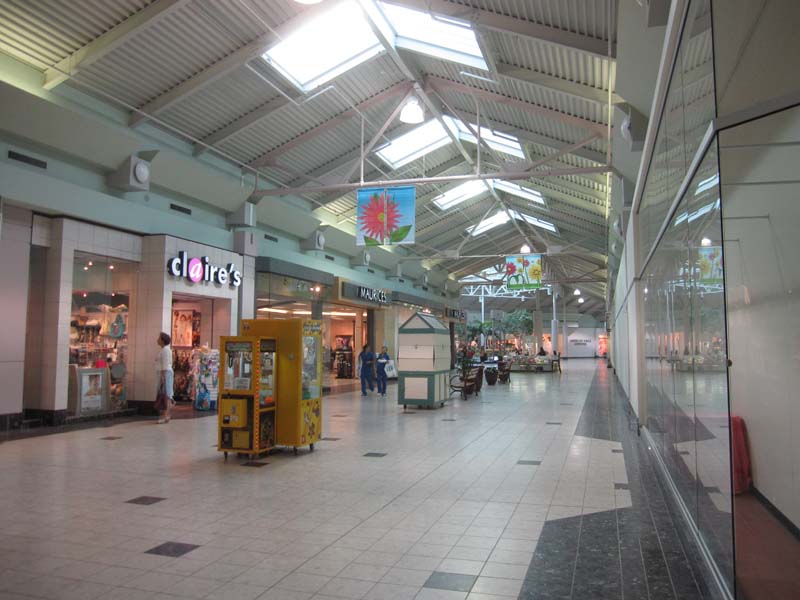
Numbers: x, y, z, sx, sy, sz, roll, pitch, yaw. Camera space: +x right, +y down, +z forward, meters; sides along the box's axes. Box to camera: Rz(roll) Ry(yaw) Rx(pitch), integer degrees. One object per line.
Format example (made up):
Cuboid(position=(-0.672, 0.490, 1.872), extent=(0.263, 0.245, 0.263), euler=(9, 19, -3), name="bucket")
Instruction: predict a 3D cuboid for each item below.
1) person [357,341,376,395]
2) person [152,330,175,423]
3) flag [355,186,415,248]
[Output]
Cuboid(position=(-1.129, 2.344, 18.607), extent=(0.485, 1.625, 1.724), euler=(0, -3, -3), name="person")
Cuboid(position=(-4.924, 1.657, 11.622), extent=(0.282, 1.880, 0.686), euler=(2, -3, -24), name="person")
Cuboid(position=(-0.362, -1.973, 13.015), extent=(1.538, 1.651, 0.078), euler=(0, -5, 12), name="flag")
